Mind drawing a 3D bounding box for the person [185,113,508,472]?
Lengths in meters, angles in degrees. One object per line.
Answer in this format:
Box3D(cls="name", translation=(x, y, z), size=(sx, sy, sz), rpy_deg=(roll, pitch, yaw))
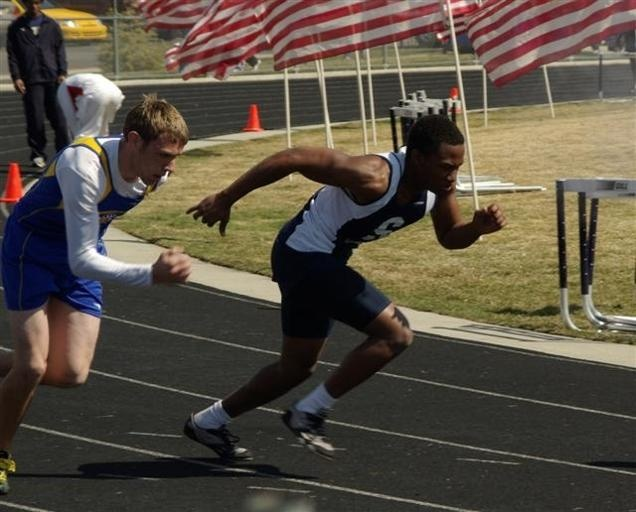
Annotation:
Box3D(cls="person", translation=(0.094, 0.205, 4.940), size=(1.532, 1.821, 0.576), rpy_deg=(-7, 17, -16))
